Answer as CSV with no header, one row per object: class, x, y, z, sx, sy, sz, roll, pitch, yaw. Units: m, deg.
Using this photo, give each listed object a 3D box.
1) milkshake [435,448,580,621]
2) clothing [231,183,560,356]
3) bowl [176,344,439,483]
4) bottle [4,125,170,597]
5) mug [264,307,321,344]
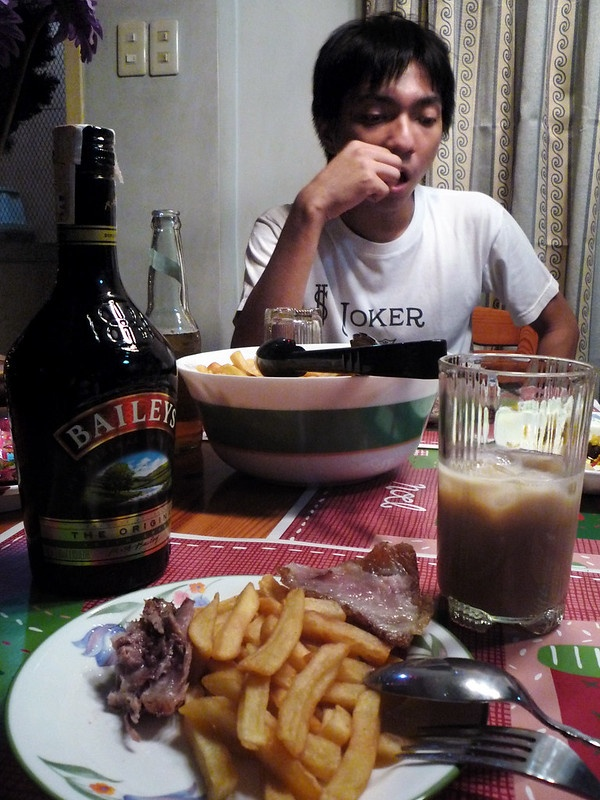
milkshake,0.136,0.087,0.438,0.095,0.100,0.087,3,2,3
clothing,0.286,-0.265,1.728,0.732,0.612,0.267,-2,40,14
bowl,0.027,0.027,0.760,0.287,0.115,0.281,-2,3,0
bottle,-0.134,-0.013,0.420,0.108,0.303,0.056,-1,13,-15
mug,-0.012,-0.102,0.921,0.079,0.077,0.058,0,5,-3
